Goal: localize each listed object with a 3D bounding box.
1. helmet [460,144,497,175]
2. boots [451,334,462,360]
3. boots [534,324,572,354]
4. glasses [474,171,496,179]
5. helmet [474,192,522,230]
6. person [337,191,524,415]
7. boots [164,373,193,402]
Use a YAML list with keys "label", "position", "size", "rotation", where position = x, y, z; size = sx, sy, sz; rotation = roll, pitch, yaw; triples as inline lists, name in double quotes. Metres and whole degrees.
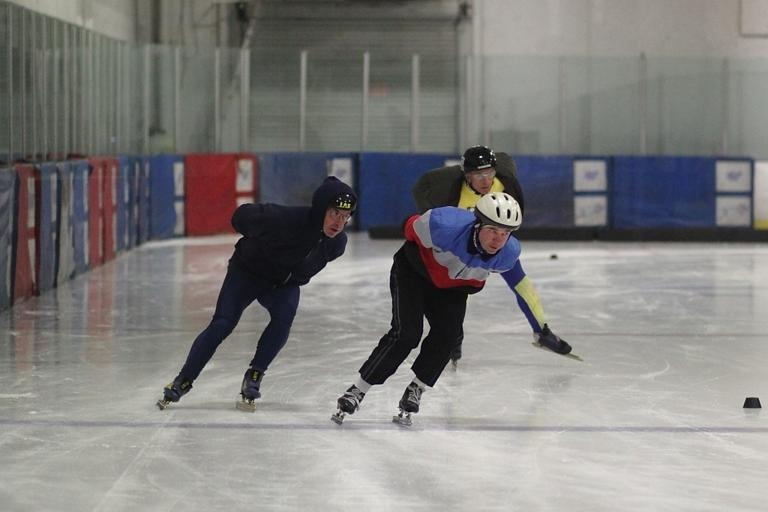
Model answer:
- label: "helmet"
  position: [0.865, -0.906, 9.860]
  size: [0.286, 0.229, 0.227]
  rotation: [-18, 3, 35]
- label: "boots"
  position: [0.703, 0.885, 10.138]
  size: [0.107, 0.278, 0.219]
  rotation: [12, -4, 1]
- label: "boots"
  position: [1.601, 0.785, 10.030]
  size: [0.334, 0.299, 0.148]
  rotation: [1, 7, 4]
- label: "glasses"
  position: [0.917, -0.740, 9.788]
  size: [0.134, 0.066, 0.095]
  rotation: [-23, 4, 4]
- label: "helmet"
  position: [0.977, -0.387, 8.652]
  size: [0.356, 0.259, 0.452]
  rotation: [3, 12, -5]
- label: "person"
  position: [0.413, 0.433, 8.891]
  size: [1.417, 1.943, 0.541]
  rotation: [2, 7, 8]
- label: "boots"
  position: [-1.789, 1.150, 9.220]
  size: [0.288, 0.173, 0.121]
  rotation: [-35, -16, 3]
